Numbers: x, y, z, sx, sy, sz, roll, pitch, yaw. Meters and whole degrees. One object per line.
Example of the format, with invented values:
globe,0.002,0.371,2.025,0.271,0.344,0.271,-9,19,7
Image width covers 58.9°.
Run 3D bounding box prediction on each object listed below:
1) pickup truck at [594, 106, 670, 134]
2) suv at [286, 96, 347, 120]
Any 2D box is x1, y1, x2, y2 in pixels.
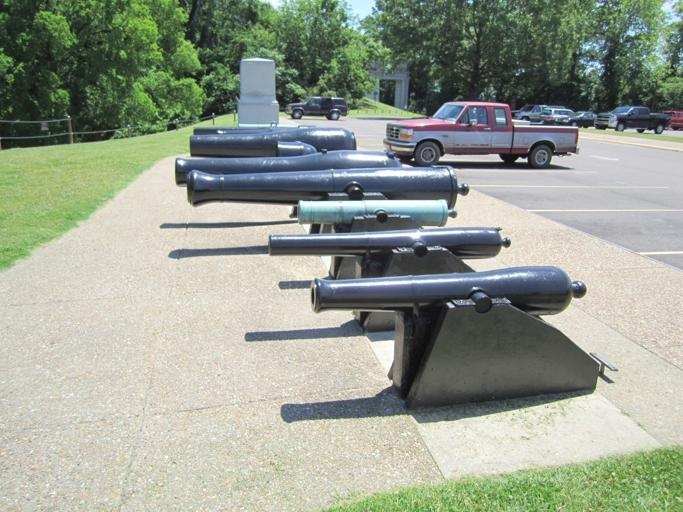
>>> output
pickup truck,21.676,-10.048,44.842,4.382,1.699,2.619,3,14,4
suv,-1.818,-12.196,50.022,5.566,1.745,2.935,-12,24,-35
